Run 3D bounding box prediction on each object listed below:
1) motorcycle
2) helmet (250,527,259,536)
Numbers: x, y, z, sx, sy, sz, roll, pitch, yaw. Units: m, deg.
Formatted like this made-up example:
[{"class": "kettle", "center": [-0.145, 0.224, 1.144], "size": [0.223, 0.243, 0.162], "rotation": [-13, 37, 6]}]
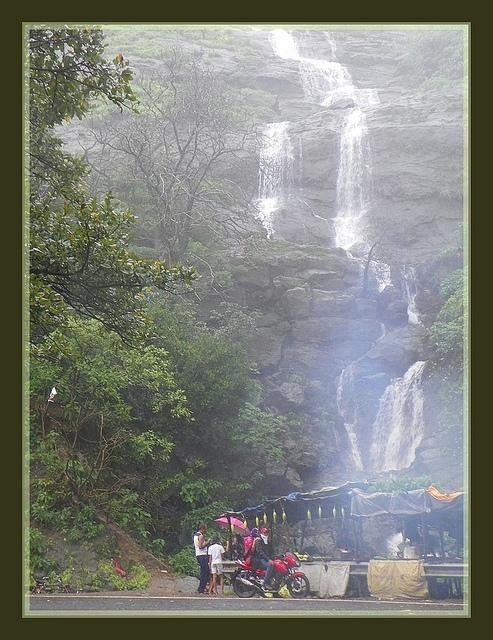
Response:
[{"class": "motorcycle", "center": [0.463, 4.806, 19.127], "size": [1.517, 0.840, 0.706], "rotation": [-2, -18, 5]}, {"class": "helmet", "center": [0.148, 3.983, 19.163], "size": [0.152, 0.191, 0.195], "rotation": [1, -8, 13]}]
